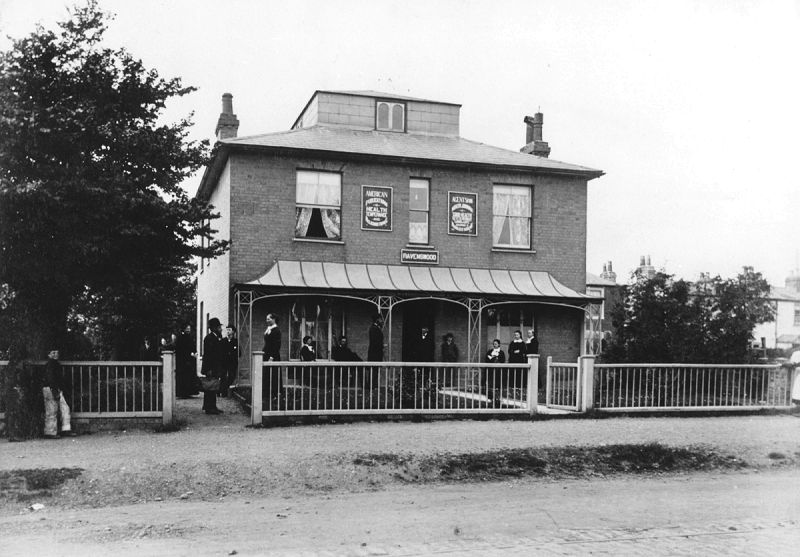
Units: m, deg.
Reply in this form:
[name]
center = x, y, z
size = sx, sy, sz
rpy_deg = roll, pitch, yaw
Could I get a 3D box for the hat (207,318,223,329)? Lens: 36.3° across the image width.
[hat]
center = -4.688, 1.172, 30.979
size = 0.360, 0.266, 0.485
rpy_deg = 0, -4, -11

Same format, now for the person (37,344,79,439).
[person]
center = -7.498, 2.531, 26.777
size = 0.590, 1.806, 0.497
rpy_deg = -2, -4, -18

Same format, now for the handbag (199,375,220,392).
[handbag]
center = -4.653, 2.625, 30.040
size = 0.357, 0.384, 0.434
rpy_deg = 6, -13, -30

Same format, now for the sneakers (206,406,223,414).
[sneakers]
center = -4.534, 3.244, 29.822
size = 0.430, 0.204, 0.150
rpy_deg = 0, -1, -7
